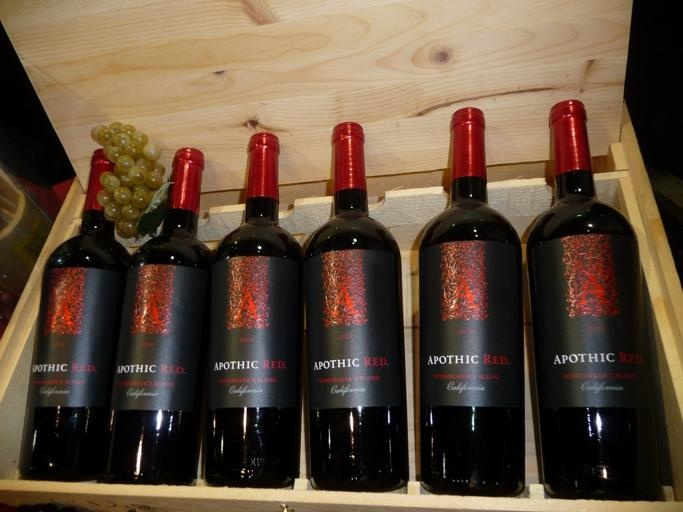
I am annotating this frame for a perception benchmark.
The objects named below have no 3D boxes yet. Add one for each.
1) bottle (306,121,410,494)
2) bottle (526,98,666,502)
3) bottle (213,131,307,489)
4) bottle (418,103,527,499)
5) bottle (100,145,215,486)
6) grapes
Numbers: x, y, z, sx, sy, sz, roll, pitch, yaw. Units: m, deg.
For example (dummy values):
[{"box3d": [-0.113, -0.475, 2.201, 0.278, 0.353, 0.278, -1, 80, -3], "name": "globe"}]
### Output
[{"box3d": [0.023, 0.066, 1.087, 0.194, 0.758, 0.149, -1, -23, 3], "name": "bottle"}, {"box3d": [0.451, 0.049, 1.021, 0.210, 0.761, 0.159, -4, -23, 10], "name": "bottle"}, {"box3d": [-0.174, 0.077, 1.122, 0.191, 0.752, 0.163, 2, -23, -6], "name": "bottle"}, {"box3d": [0.245, 0.063, 1.060, 0.215, 0.760, 0.179, -2, -23, 5], "name": "bottle"}, {"box3d": [-0.366, 0.090, 1.141, 0.177, 0.738, 0.132, 5, -23, -12], "name": "bottle"}, {"box3d": [-0.515, -0.224, 1.343, 0.174, 0.105, 0.331, 16, -13, -16], "name": "grapes"}]
